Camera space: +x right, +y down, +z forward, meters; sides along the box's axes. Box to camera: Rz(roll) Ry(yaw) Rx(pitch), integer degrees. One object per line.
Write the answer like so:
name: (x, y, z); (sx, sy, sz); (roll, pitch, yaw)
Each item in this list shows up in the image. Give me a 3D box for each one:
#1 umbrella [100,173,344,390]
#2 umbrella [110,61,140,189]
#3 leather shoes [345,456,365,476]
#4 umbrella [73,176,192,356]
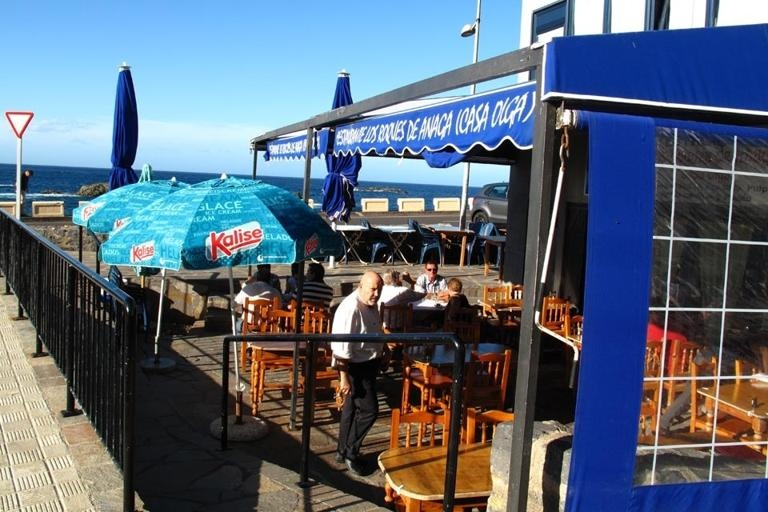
umbrella: (-1.906, 0.097, 8.297); (1.968, 1.610, 1.933); (0, 4, -25)
umbrella: (-5.400, -2.622, 14.687); (0.514, 2.481, 0.667); (1, 6, 1)
leather shoes: (-0.330, 2.347, 7.906); (0.130, 0.075, 0.198); (-14, 43, -44)
umbrella: (-3.808, -0.275, 11.324); (1.772, 1.871, 1.801); (-2, 8, -26)
